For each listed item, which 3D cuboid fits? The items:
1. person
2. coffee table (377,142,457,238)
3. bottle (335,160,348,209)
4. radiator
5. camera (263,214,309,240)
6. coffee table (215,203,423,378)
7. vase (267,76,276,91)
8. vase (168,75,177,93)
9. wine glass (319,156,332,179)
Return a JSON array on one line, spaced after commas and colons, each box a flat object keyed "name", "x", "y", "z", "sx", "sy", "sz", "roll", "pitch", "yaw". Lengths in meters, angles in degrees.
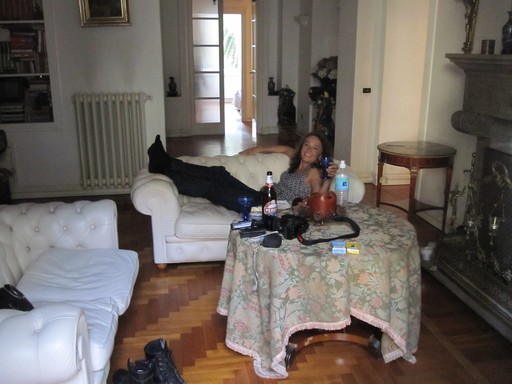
[{"name": "person", "x": -0.078, "y": -0.125, "z": 3.420, "sx": 1.504, "sy": 0.666, "sz": 0.696, "roll": 0, "pitch": 9, "yaw": 2}, {"name": "coffee table", "x": 1.645, "y": -0.057, "z": 4.020, "sx": 0.712, "sy": 0.867, "sz": 0.736, "roll": 0, "pitch": 20, "yaw": 8}, {"name": "bottle", "x": 0.604, "y": -0.052, "z": 2.684, "sx": 0.092, "sy": 0.329, "sz": 0.271, "roll": 3, "pitch": 18, "yaw": 13}, {"name": "radiator", "x": -1.884, "y": -0.697, "z": 5.098, "sx": 0.961, "sy": 1.239, "sz": 0.218, "roll": -10, "pitch": 22, "yaw": -30}, {"name": "camera", "x": 0.183, "y": 0.188, "z": 2.381, "sx": 0.220, "sy": 0.097, "sz": 0.142, "roll": 10, "pitch": 15, "yaw": 44}, {"name": "coffee table", "x": 0.383, "y": 0.515, "z": 2.310, "sx": 0.924, "sy": 0.566, "sz": 0.965, "roll": 6, "pitch": 15, "yaw": 13}, {"name": "vase", "x": 0.363, "y": -2.409, "z": 8.613, "sx": 0.181, "sy": 0.311, "sz": 0.104, "roll": -9, "pitch": 20, "yaw": -24}, {"name": "vase", "x": -1.763, "y": -2.256, "z": 8.128, "sx": 0.182, "sy": 0.343, "sz": 0.191, "roll": -5, "pitch": 18, "yaw": -12}, {"name": "wine glass", "x": 0.554, "y": -0.205, "z": 3.049, "sx": 0.080, "sy": 0.185, "sz": 0.291, "roll": 2, "pitch": 18, "yaw": 8}]
